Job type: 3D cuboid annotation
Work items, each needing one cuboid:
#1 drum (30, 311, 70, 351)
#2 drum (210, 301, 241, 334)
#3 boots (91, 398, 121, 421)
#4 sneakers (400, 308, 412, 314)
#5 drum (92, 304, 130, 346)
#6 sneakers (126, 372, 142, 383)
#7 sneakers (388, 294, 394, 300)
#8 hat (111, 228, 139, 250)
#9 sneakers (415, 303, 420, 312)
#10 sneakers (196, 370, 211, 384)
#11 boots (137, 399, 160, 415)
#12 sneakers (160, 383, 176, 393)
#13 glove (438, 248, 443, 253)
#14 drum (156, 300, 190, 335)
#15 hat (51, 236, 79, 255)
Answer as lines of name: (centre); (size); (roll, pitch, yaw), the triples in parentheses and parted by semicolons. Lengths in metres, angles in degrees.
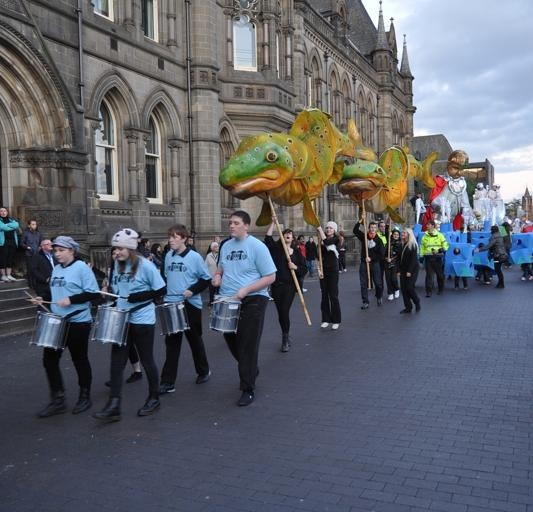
drum: (-2.169, 0.729, 6.110); (0.334, 0.393, 0.357); (8, 6, 8)
drum: (-0.435, 0.648, 6.519); (0.302, 0.347, 0.324); (2, -2, -6)
boots: (-1.533, 1.504, 5.900); (0.132, 0.273, 0.351); (-7, -15, 35)
sneakers: (3.019, 1.168, 12.897); (0.260, 0.126, 0.098); (4, -4, -22)
drum: (-1.555, 0.677, 5.997); (0.356, 0.397, 0.365); (4, -7, -28)
sneakers: (-1.673, 1.530, 7.619); (0.071, 0.103, 0.240); (-7, -4, 24)
sneakers: (3.311, 1.072, 15.913); (0.075, 0.111, 0.240); (-4, -1, 22)
hat: (-1.442, -0.166, 6.184); (0.179, 0.200, 0.251); (6, 18, 29)
sneakers: (3.266, 1.081, 12.873); (0.086, 0.209, 0.262); (0, 3, 11)
sneakers: (-0.788, 1.501, 7.470); (0.071, 0.098, 0.227); (-2, -4, 12)
boots: (-1.205, 1.542, 6.162); (0.090, 0.196, 0.269); (-5, -5, 29)
sneakers: (-1.147, 1.520, 6.945); (0.068, 0.090, 0.200); (0, -18, 22)
glove: (4.797, -0.165, 16.437); (0.090, 0.101, 0.112); (-3, 2, -42)
drum: (-1.044, 0.663, 6.668); (0.299, 0.351, 0.309); (-5, 11, 29)
hat: (-2.072, -0.079, 6.271); (0.209, 0.117, 0.308); (7, -9, 43)
